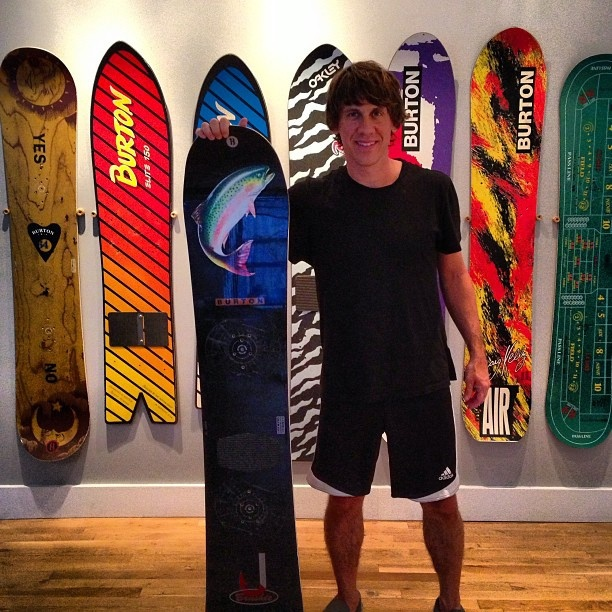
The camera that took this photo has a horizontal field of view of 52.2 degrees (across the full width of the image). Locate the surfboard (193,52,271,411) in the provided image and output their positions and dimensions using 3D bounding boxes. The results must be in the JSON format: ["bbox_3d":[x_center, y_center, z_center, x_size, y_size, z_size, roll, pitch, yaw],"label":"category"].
[{"bbox_3d":[-0.378,-0.491,3.800,0.385,0.116,2.615,-15,-27,-10],"label":"surfboard"}]

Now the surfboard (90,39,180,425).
[{"bbox_3d":[-0.808,-0.331,2.973,0.368,1.782,0.055,0,4,6],"label":"surfboard"}]

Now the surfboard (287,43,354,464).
[{"bbox_3d":[0.009,-0.298,2.903,0.241,2.009,0.092,1,3,-3],"label":"surfboard"}]
